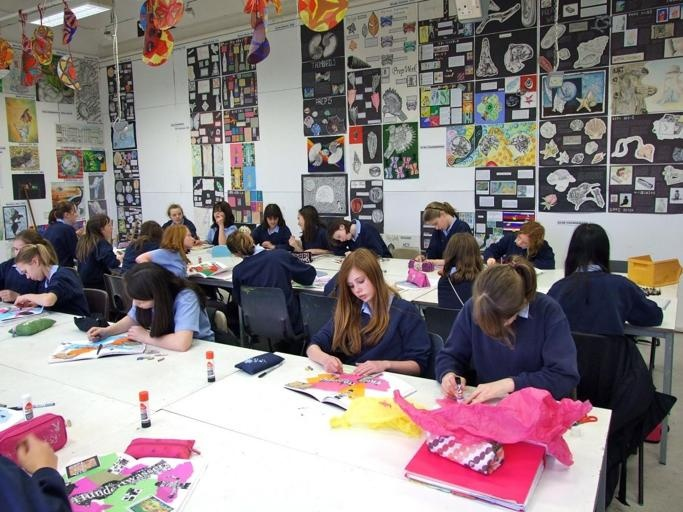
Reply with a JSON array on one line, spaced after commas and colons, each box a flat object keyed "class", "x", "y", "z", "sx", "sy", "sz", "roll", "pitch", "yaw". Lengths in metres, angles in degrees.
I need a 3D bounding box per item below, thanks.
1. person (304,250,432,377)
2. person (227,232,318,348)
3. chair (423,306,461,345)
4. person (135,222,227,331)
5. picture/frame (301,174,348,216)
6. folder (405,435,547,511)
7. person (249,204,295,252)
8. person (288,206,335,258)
[{"class": "person", "x": 0.156, "y": 0.341, "z": 2.808, "sx": 0.598, "sy": 0.960, "sz": 0.588, "roll": 8, "pitch": 20, "yaw": 39}, {"class": "person", "x": -0.554, "y": 0.287, "z": 4.121, "sx": 0.665, "sy": 1.361, "sz": 0.435, "roll": -16, "pitch": 43, "yaw": -2}, {"class": "chair", "x": 0.622, "y": 0.415, "z": 3.084, "sx": 0.191, "sy": 0.346, "sz": 0.226, "roll": 4, "pitch": 4, "yaw": 30}, {"class": "person", "x": -1.450, "y": 0.217, "z": 4.517, "sx": 0.694, "sy": 0.980, "sz": 0.365, "roll": 3, "pitch": 15, "yaw": -12}, {"class": "picture/frame", "x": -0.198, "y": -0.810, "z": 6.425, "sx": 0.577, "sy": 0.522, "sz": 0.041, "roll": 9, "pitch": 16, "yaw": 34}, {"class": "folder", "x": 0.463, "y": 0.713, "z": 1.671, "sx": 0.384, "sy": 0.065, "sz": 0.331, "roll": 8, "pitch": 17, "yaw": 32}, {"class": "person", "x": -0.846, "y": -0.350, "z": 5.919, "sx": 0.553, "sy": 0.859, "sz": 0.548, "roll": 0, "pitch": 6, "yaw": 2}, {"class": "person", "x": -0.360, "y": -0.285, "z": 5.755, "sx": 0.527, "sy": 0.812, "sz": 0.568, "roll": 0, "pitch": 5, "yaw": -5}]
